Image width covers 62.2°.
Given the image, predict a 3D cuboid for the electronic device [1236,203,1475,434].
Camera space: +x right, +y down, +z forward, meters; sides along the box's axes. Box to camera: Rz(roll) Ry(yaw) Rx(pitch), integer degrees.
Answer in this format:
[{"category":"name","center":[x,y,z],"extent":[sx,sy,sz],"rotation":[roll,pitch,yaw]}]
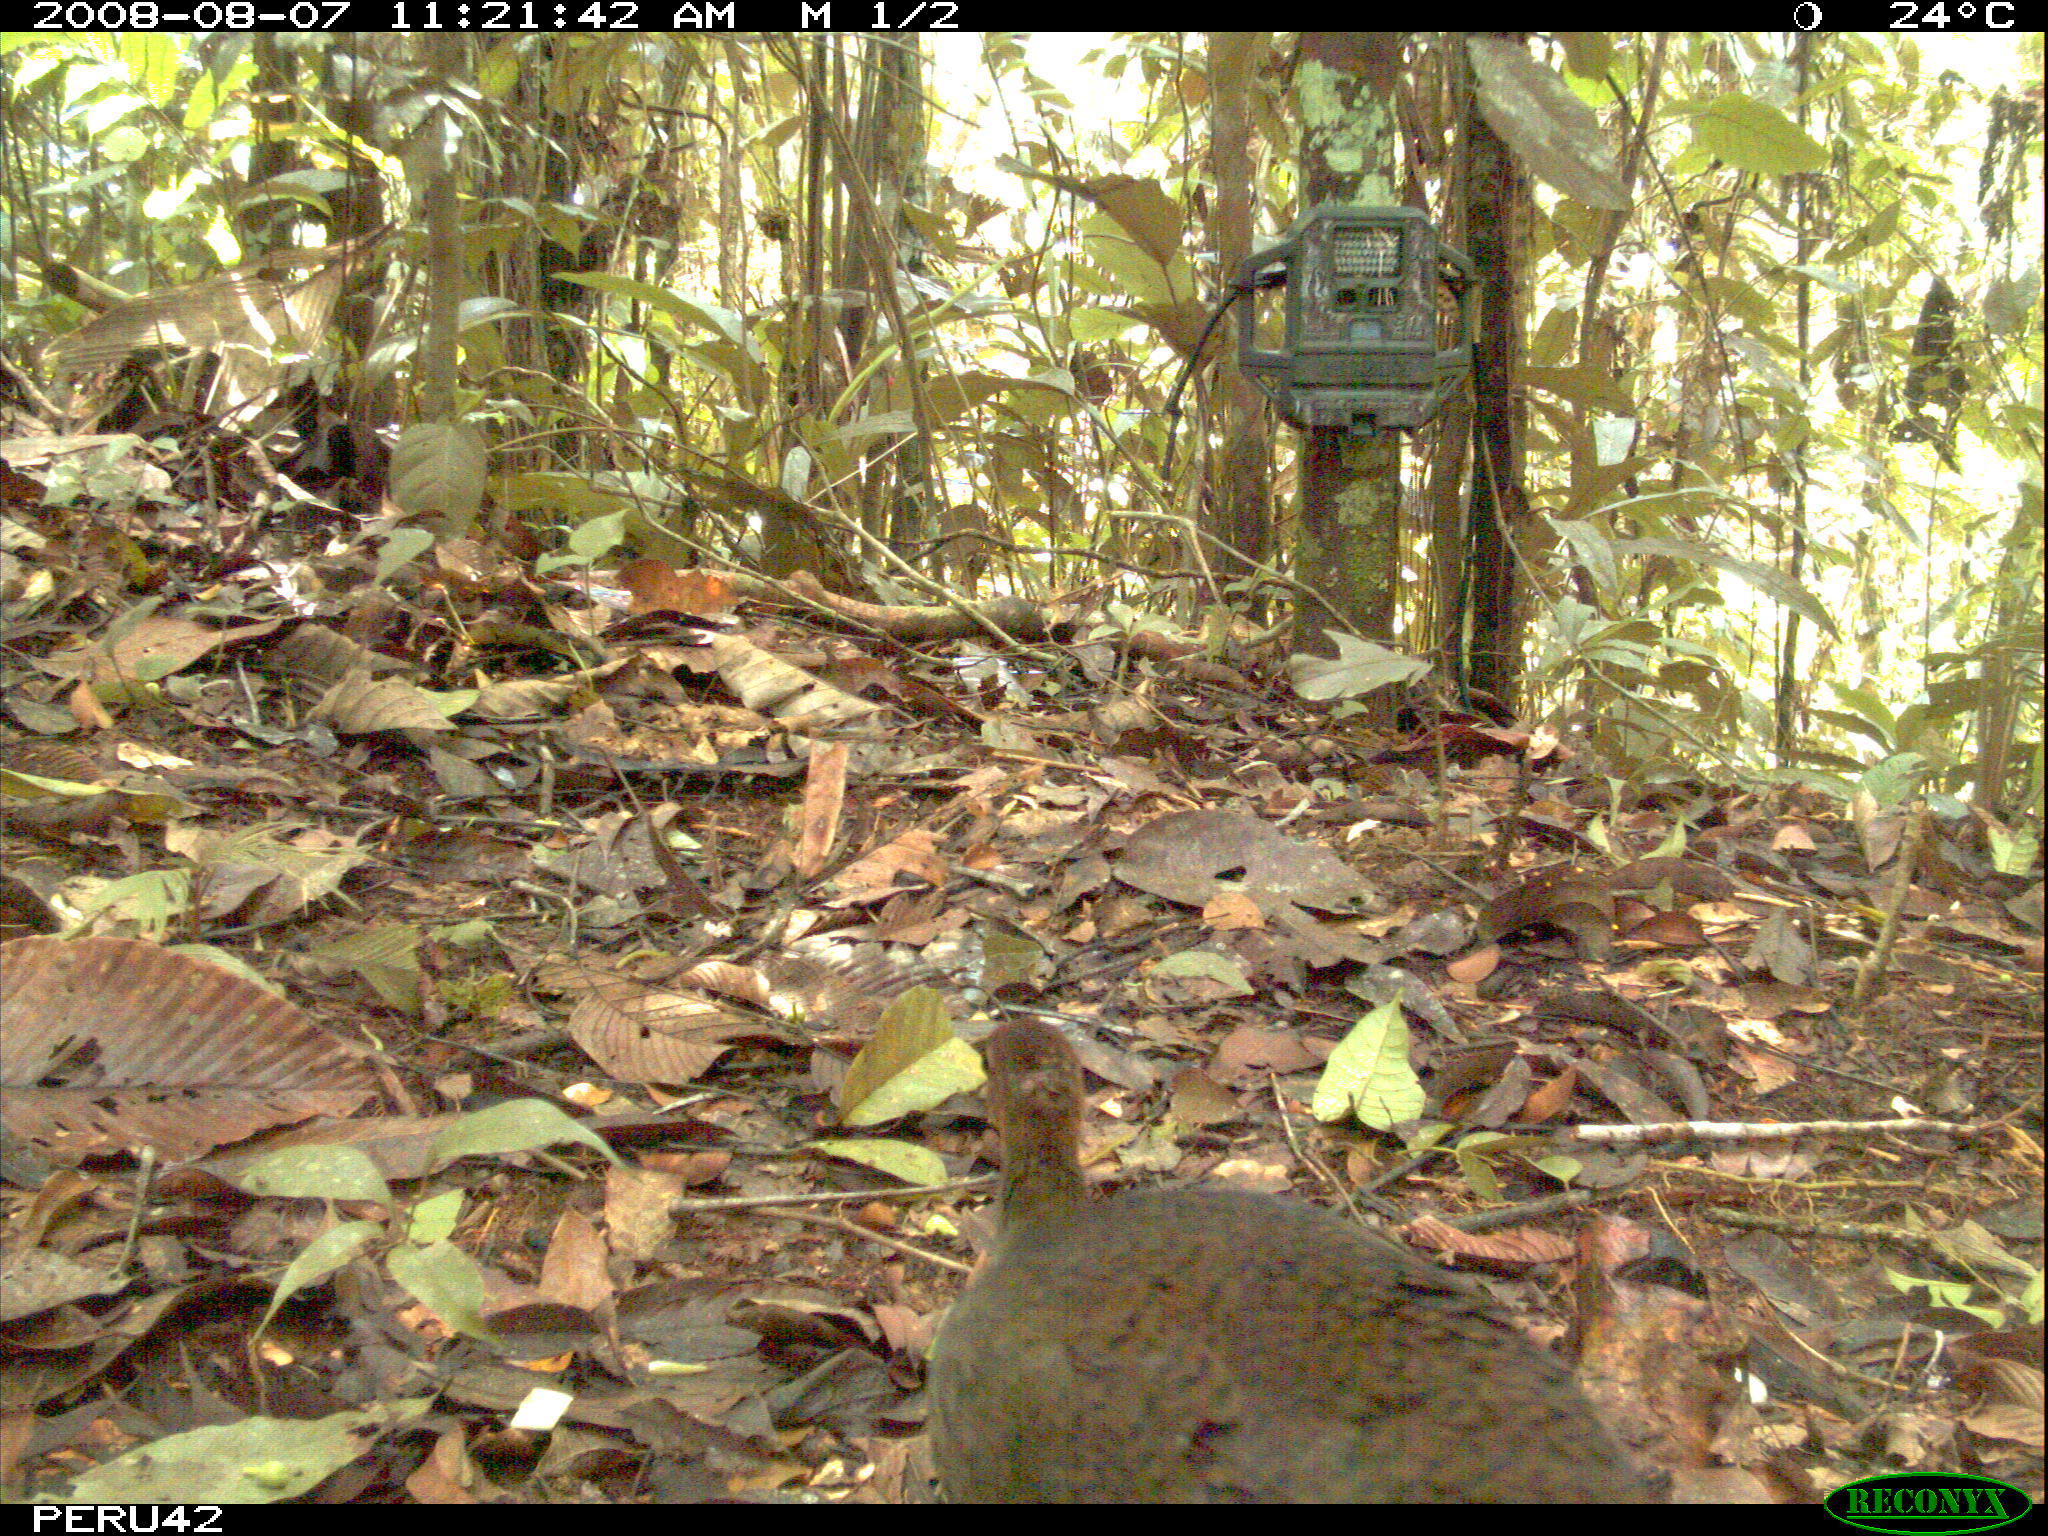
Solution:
[{"category":"electronic device","center":[0.750,-1.052,4.083],"extent":[0.668,0.462,0.297],"rotation":[-5,18,-14]}]
